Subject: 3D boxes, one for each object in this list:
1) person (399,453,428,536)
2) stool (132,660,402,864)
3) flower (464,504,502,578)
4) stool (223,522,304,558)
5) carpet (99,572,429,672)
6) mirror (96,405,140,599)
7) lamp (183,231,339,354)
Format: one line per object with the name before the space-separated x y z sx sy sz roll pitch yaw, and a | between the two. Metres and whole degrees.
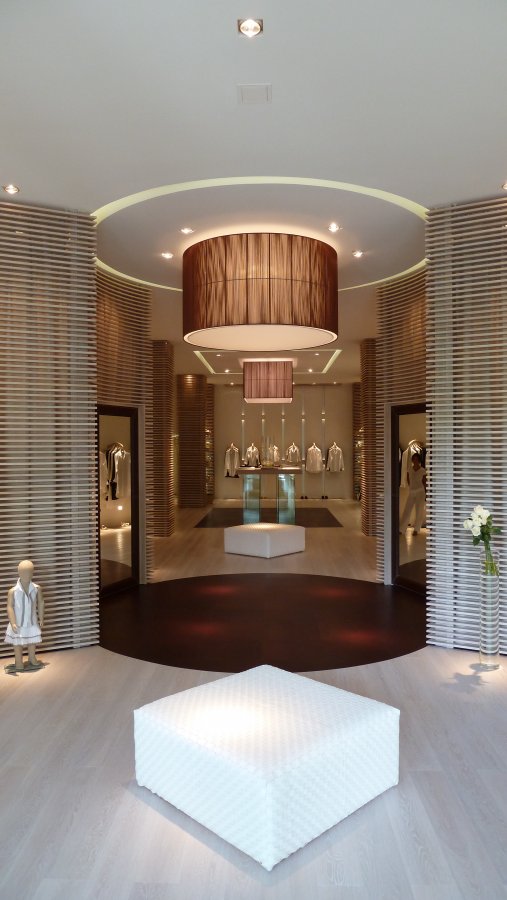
person | 1.735 0.472 6.255 0.194 0.874 0.491 0 -3 -1
stool | 0.044 1.208 2.382 0.854 0.355 0.881 -3 -4 44
flower | 1.623 0.646 4.128 0.234 0.491 0.568 -1 -3 22
stool | 0.169 1.350 8.491 1.177 0.401 0.765 -1 -3 4
carpet | 0.174 1.501 5.090 2.997 0.103 2.676 0 -3 -10
mirror | -1.501 0.519 6.369 0.270 2.016 0.879 -1 -3 9
lamp | -0.036 -1.408 5.226 1.118 0.739 1.258 -1 6 10
